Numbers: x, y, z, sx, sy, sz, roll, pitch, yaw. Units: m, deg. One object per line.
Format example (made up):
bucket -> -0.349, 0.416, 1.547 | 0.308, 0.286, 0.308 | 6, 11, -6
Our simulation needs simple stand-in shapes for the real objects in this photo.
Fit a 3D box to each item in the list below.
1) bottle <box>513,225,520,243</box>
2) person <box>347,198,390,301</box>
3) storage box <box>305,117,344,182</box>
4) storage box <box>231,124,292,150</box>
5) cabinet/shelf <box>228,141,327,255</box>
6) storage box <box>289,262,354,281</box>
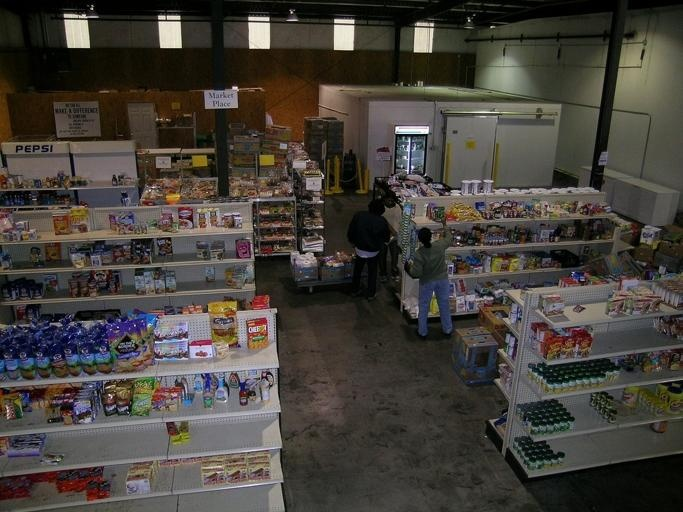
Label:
bottle -> 3.205, -0.404, 9.265 | 0.119, 0.337, 0.236 | -1, 17, -1
person -> 0.561, -0.200, 9.825 | 0.828, 2.003, 0.738 | 10, 26, 15
storage box -> -0.492, -3.368, 15.717 | 1.249, 2.347, 2.430 | -2, 18, -10
storage box -> -1.939, -2.967, 12.732 | 1.190, 0.449, 1.200 | -3, 14, -15
cabinet/shelf -> -1.433, -1.243, 11.026 | 1.156, 2.166, 2.132 | -5, 20, -12
storage box -> -0.350, 0.306, 10.263 | 1.160, 0.367, 0.262 | -4, 19, -8
